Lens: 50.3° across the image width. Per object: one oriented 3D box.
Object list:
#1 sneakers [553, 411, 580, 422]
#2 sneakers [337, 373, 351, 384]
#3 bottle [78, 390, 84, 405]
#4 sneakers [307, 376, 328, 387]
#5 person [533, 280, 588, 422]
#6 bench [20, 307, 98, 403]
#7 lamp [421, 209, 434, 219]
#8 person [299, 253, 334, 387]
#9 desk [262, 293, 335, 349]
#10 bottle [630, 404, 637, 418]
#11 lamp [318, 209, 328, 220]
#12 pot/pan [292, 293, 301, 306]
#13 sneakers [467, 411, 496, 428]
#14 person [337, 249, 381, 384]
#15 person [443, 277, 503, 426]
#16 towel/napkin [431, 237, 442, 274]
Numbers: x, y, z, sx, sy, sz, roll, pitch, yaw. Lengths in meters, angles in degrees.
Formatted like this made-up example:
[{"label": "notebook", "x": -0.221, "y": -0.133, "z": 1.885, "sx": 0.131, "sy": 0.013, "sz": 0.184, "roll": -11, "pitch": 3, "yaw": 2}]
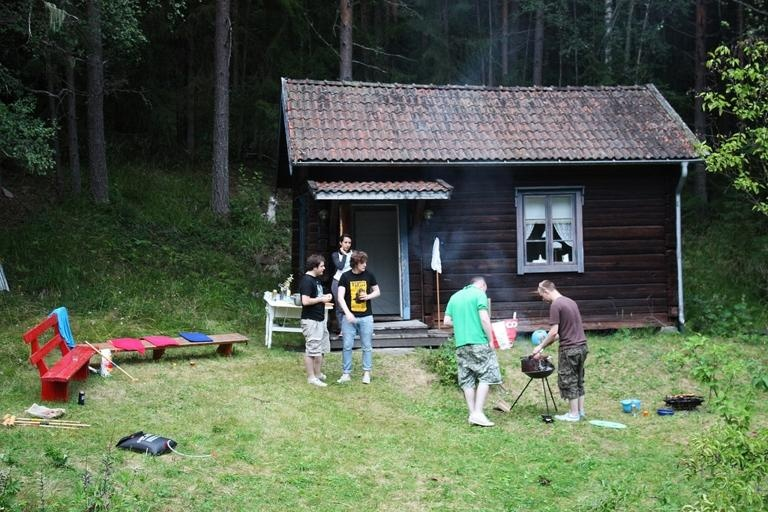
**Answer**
[{"label": "sneakers", "x": 3.727, "y": 3.301, "z": 16.756, "sx": 0.437, "sy": 0.186, "sz": 0.205, "roll": 2, "pitch": -4, "yaw": 15}, {"label": "sneakers", "x": -0.872, "y": 2.754, "z": 18.328, "sx": 0.126, "sy": 0.170, "sz": 0.393, "roll": -1, "pitch": -8, "yaw": 20}, {"label": "bottle", "x": -5.979, "y": 2.822, "z": 16.288, "sx": 0.148, "sy": 0.243, "sz": 0.302, "roll": -1, "pitch": 4, "yaw": -24}, {"label": "sneakers", "x": -1.437, "y": 2.777, "z": 18.002, "sx": 0.372, "sy": 0.145, "sz": 0.203, "roll": 3, "pitch": 5, "yaw": 15}, {"label": "person", "x": 3.656, "y": 1.952, "z": 16.792, "sx": 0.918, "sy": 2.828, "sz": 0.821, "roll": 1, "pitch": 3, "yaw": 15}, {"label": "bench", "x": -6.527, "y": 2.055, "z": 16.840, "sx": 1.038, "sy": 1.505, "sz": 2.053, "roll": 0, "pitch": 11, "yaw": -9}, {"label": "lamp", "x": 1.133, "y": -1.067, "z": 21.241, "sx": 0.216, "sy": 0.254, "sz": 0.251, "roll": -6, "pitch": -15, "yaw": 36}, {"label": "person", "x": -1.504, "y": 1.417, "z": 18.019, "sx": 0.624, "sy": 2.868, "sz": 0.566, "roll": 0, "pitch": 3, "yaw": -6}, {"label": "desk", "x": -2.302, "y": 1.477, "z": 20.841, "sx": 1.744, "sy": 1.348, "sz": 1.502, "roll": 1, "pitch": 7, "yaw": -13}, {"label": "bottle", "x": 5.227, "y": 3.232, "z": 17.111, "sx": 0.137, "sy": 0.205, "sz": 0.266, "roll": 2, "pitch": 3, "yaw": 17}, {"label": "lamp", "x": -1.531, "y": -1.050, "z": 20.830, "sx": 0.214, "sy": 0.218, "sz": 0.214, "roll": 2, "pitch": -4, "yaw": 3}, {"label": "pot/pan", "x": -2.102, "y": 1.070, "z": 19.948, "sx": 0.278, "sy": 0.294, "sz": 0.372, "roll": -1, "pitch": -5, "yaw": 14}, {"label": "sneakers", "x": 1.974, "y": 3.326, "z": 16.570, "sx": 0.532, "sy": 0.248, "sz": 0.231, "roll": 1, "pitch": 3, "yaw": 6}, {"label": "person", "x": -0.589, "y": 1.375, "z": 18.333, "sx": 0.877, "sy": 2.943, "sz": 0.885, "roll": 1, "pitch": 3, "yaw": -2}, {"label": "person", "x": 1.823, "y": 1.939, "z": 16.727, "sx": 1.096, "sy": 2.968, "sz": 0.512, "roll": 1, "pitch": 3, "yaw": 13}, {"label": "towel/napkin", "x": 1.339, "y": -0.007, "z": 21.023, "sx": 0.275, "sy": 0.938, "sz": 0.565, "roll": 1, "pitch": 3, "yaw": 3}]
